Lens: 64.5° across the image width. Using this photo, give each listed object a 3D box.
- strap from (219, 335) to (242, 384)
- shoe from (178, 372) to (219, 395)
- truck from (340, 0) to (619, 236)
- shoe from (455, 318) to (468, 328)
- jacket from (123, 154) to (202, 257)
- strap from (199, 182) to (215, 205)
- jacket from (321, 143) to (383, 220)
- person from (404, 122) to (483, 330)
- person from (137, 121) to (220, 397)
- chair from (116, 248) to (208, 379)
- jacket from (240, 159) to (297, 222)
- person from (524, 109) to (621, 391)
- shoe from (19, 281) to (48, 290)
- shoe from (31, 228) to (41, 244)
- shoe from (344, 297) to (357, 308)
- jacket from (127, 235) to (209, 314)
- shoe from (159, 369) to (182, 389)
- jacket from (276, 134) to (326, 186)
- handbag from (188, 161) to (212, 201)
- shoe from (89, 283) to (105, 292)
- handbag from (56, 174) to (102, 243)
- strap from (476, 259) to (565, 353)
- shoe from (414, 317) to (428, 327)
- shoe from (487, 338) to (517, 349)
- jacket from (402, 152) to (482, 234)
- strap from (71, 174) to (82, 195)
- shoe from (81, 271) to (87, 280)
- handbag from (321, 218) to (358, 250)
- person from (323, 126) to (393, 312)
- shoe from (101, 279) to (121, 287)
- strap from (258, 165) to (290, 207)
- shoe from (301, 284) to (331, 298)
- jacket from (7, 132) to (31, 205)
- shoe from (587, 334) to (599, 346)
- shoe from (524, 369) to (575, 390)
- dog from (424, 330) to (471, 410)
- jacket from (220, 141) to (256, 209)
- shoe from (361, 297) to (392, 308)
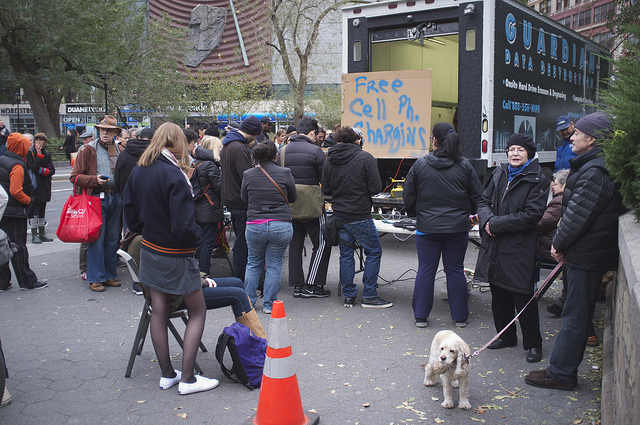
[{"bbox_3d":[-0.965,1.580,5.483,0.220,0.542,0.131,-1,13,-4],"label":"strap"},{"bbox_3d":[-1.265,1.790,5.411,0.434,0.168,0.157,0,3,-33],"label":"shoe"},{"bbox_3d":[3.680,-2.417,11.455,4.086,4.424,7.792,5,9,40],"label":"truck"},{"bbox_3d":[1.875,1.463,6.717,0.107,0.102,0.254,0,-5,20],"label":"shoe"},{"bbox_3d":[-1.627,-0.065,5.472,1.105,1.100,0.630,3,6,37],"label":"jacket"},{"bbox_3d":[-1.807,-0.286,8.132,0.078,0.308,0.294,-11,-33,10],"label":"strap"},{"bbox_3d":[0.577,-0.431,7.767,1.174,1.302,0.972,4,8,34],"label":"jacket"},{"bbox_3d":[1.618,0.185,6.749,0.987,2.659,0.679,3,13,16],"label":"person"},{"bbox_3d":[-1.534,0.523,5.561,0.916,2.817,0.822,3,5,33],"label":"person"},{"bbox_3d":[-1.820,1.126,6.068,0.996,1.244,1.092,0,2,43],"label":"chair"},{"bbox_3d":[-0.660,-0.268,7.238,1.040,1.153,0.726,0,0,5],"label":"jacket"},{"bbox_3d":[2.771,0.431,5.552,0.995,2.963,0.992,3,-1,19],"label":"person"},{"bbox_3d":[-4.622,1.189,8.203,0.368,0.160,0.131,-4,13,-20],"label":"shoe"},{"bbox_3d":[-6.418,0.534,11.481,0.164,0.297,0.421,-7,14,-28],"label":"shoe"},{"bbox_3d":[0.464,1.329,7.561,0.193,0.137,0.164,-2,13,-8],"label":"shoe"},{"bbox_3d":[-1.765,0.642,5.877,0.941,1.172,0.719,-3,5,1],"label":"jacket"},{"bbox_3d":[-1.568,1.782,5.529,0.117,0.139,0.354,4,8,30],"label":"shoe"},{"bbox_3d":[-0.236,-0.763,7.926,0.919,0.844,0.480,5,22,29],"label":"jacket"},{"bbox_3d":[-2.008,-0.476,8.297,0.396,0.521,0.526,3,5,-28],"label":"handbag"},{"bbox_3d":[-3.539,1.200,8.109,0.225,0.088,0.101,1,4,36],"label":"shoe"},{"bbox_3d":[-3.783,0.058,7.982,0.624,0.779,0.348,1,13,6],"label":"handbag"},{"bbox_3d":[2.491,1.181,6.302,0.171,1.394,0.151,38,11,-8],"label":"strap"},{"bbox_3d":[1.361,1.467,6.783,0.114,0.129,0.290,0,-6,9],"label":"shoe"},{"bbox_3d":[2.272,1.623,6.317,0.359,0.130,0.131,2,-3,-8],"label":"shoe"},{"bbox_3d":[1.644,-0.275,6.925,1.106,1.073,0.663,-3,3,10],"label":"jacket"},{"bbox_3d":[-3.835,-0.488,8.040,0.140,0.198,0.086,-1,13,-5],"label":"strap"},{"bbox_3d":[-4.077,1.095,8.722,0.090,0.108,0.243,2,5,-43],"label":"shoe"},{"bbox_3d":[0.242,0.323,7.571,0.520,0.250,0.371,27,0,15],"label":"handbag"},{"bbox_3d":[0.513,0.091,7.450,0.552,2.604,0.986,-12,17,-42],"label":"person"},{"bbox_3d":[-3.435,1.167,8.363,0.259,0.108,0.095,-2,8,-3],"label":"shoe"},{"bbox_3d":[-0.638,-0.342,6.925,0.068,0.632,0.091,-35,7,-22],"label":"strap"},{"bbox_3d":[-0.067,1.237,7.933,0.482,0.204,0.172,1,0,-12],"label":"shoe"},{"bbox_3d":[-4.825,-0.692,8.161,0.346,1.088,0.807,-7,14,-29],"label":"jacket"},{"bbox_3d":[3.377,1.572,6.235,0.176,0.117,0.071,-4,13,-17],"label":"shoe"},{"bbox_3d":[2.488,1.771,5.507,0.484,0.206,0.173,6,-2,17],"label":"shoe"},{"bbox_3d":[1.339,1.599,5.261,0.430,0.698,0.450,0,13,3],"label":"dog"},{"bbox_3d":[-1.195,-0.547,7.511,0.568,1.012,0.815,-7,15,-33],"label":"jacket"},{"bbox_3d":[0.843,1.323,7.469,0.443,0.173,0.162,1,-4,-1],"label":"shoe"}]
